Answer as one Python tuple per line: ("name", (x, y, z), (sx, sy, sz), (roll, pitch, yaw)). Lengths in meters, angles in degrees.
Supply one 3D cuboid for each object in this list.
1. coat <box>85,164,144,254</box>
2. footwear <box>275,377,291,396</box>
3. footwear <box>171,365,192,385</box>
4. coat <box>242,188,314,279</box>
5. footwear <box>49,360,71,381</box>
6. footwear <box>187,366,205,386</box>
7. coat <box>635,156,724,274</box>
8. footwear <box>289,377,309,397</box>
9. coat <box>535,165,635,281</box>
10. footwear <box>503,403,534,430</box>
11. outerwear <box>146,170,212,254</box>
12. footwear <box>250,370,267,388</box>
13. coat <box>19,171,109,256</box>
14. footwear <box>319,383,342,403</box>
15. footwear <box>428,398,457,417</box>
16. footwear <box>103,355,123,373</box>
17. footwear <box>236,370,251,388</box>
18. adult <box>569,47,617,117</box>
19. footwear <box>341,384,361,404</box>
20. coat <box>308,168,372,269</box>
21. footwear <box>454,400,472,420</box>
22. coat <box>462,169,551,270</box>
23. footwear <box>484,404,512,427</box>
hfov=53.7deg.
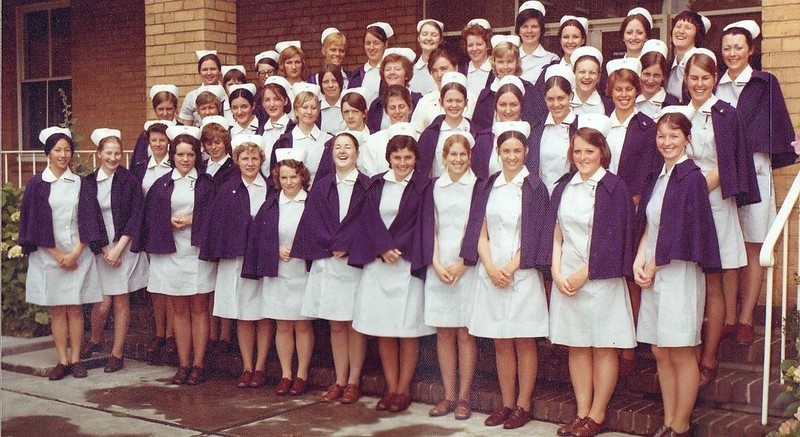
("coat", (-4.077, -0.134, 11.261), (0.780, 1.406, 0.442), (-1, 36, -19))
("footwear", (-1.505, 2.178, 10.292), (0.119, 0.106, 0.257), (0, 5, 8))
("footwear", (-2.965, 2.135, 10.760), (0.148, 0.135, 0.330), (-1, 3, 8))
("coat", (-1.550, 0.245, 10.297), (1.174, 1.083, 0.435), (2, -8, -12))
("footwear", (-4.725, 2.138, 11.011), (0.165, 0.129, 0.311), (-4, -1, 3))
("footwear", (-2.758, 2.132, 10.730), (0.211, 0.201, 0.210), (-3, 7, -10))
("coat", (3.140, 0.016, 8.852), (0.850, 1.366, 1.374), (0, -1, -20))
("footwear", (-1.327, 2.178, 10.237), (0.232, 0.204, 0.143), (-4, 7, -15))
("coat", (2.114, 0.113, 9.037), (1.327, 1.434, 0.818), (1, -1, 43))
("footwear", (1.398, 2.329, 9.253), (0.420, 0.210, 0.133), (-7, 8, -35))
("outerwear", (-3.010, -0.045, 10.870), (1.195, 1.072, 0.242), (0, -3, -6))
("footwear", (-1.880, 2.137, 10.517), (0.168, 0.200, 0.140), (-2, 7, 0))
("coat", (-4.631, -0.032, 10.927), (1.232, 1.294, 0.545), (0, -1, -23))
("footwear", (-0.886, 2.218, 10.073), (0.337, 0.179, 0.272), (1, 7, 25))
("footwear", (0.520, 2.298, 9.607), (0.380, 0.142, 0.146), (-2, 0, -42))
("footwear", (-4.056, 2.061, 11.229), (0.248, 0.206, 0.267), (-4, 7, -18))
("footwear", (-2.062, 2.146, 10.527), (0.124, 0.101, 0.242), (1, 20, 5))
("adult", (2.369, -1.632, 9.955), (0.657, 0.952, 0.552), (10, 10, 39))
("footwear", (-0.626, 2.214, 9.996), (0.195, 0.193, 0.245), (0, 7, 19))
("coat", (-0.735, 0.046, 9.979), (1.250, 1.341, 0.287), (2, -10, 16))
("footwear", (0.762, 2.291, 9.515), (0.207, 0.200, 0.232), (-2, 7, 4))
("coat", (1.262, 0.062, 9.299), (1.139, 1.141, 0.660), (3, -3, 30))
("footwear", (1.161, 2.328, 9.301), (0.437, 0.151, 0.150), (-16, 19, -37))
